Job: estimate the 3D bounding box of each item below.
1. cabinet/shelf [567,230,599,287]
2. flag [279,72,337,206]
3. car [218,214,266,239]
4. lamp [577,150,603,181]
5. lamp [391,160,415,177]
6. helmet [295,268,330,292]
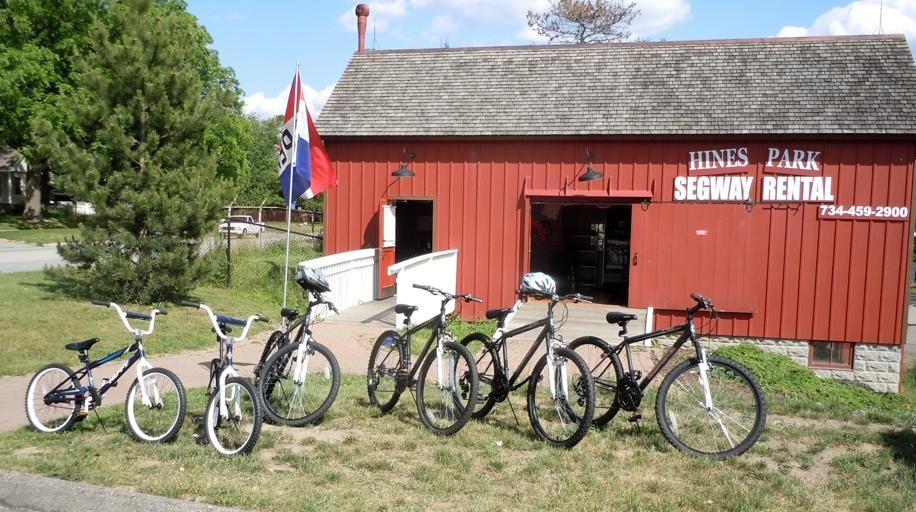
[{"bbox_3d":[4.185,0.011,26.893,0.973,1.509,0.494,4,2,5],"label":"cabinet/shelf"},{"bbox_3d":[-3.923,-2.870,20.919,1.246,3.324,2.767,4,2,-7],"label":"flag"},{"bbox_3d":[-8.520,-1.129,32.211,1.653,1.088,3.020,0,-3,-2],"label":"car"},{"bbox_3d":[3.580,-2.478,22.452,0.748,0.843,0.765,-6,7,-2],"label":"lamp"},{"bbox_3d":[-1.558,-2.403,23.153,0.490,0.289,0.497,1,-2,-1],"label":"lamp"},{"bbox_3d":[-2.868,0.516,16.057,0.608,0.439,0.217,33,-42,-12],"label":"helmet"}]
